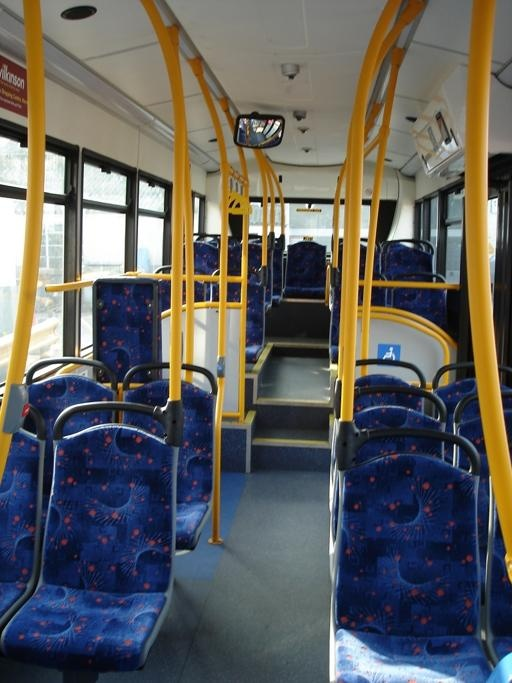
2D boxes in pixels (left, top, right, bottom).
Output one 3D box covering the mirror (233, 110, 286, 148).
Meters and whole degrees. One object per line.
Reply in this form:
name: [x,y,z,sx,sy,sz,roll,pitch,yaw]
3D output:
mirror: [0.008,-1.135,2.804,0.256,0.158,0.278,1,3,-4]
